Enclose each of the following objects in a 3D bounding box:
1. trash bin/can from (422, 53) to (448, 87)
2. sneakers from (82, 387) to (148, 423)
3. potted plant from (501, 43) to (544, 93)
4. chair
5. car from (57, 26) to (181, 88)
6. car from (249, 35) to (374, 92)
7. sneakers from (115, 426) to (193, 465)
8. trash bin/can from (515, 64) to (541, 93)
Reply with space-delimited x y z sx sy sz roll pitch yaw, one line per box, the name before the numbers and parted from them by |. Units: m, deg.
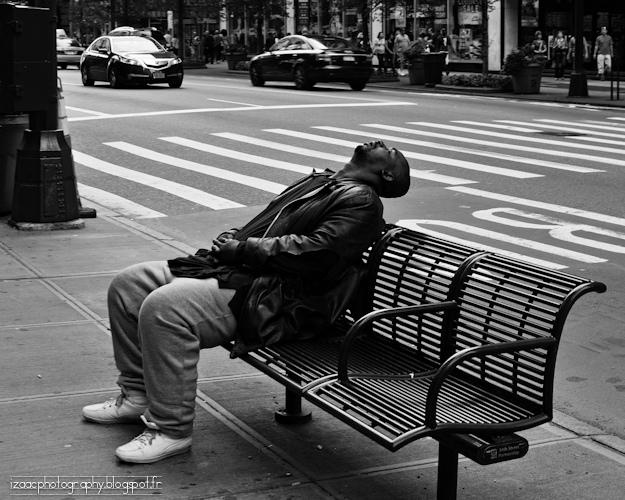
trash bin/can | 5.059 -7.492 30.805 0.906 1.362 0.948 1 15 0
sneakers | -1.009 0.799 3.945 0.442 0.175 0.163 2 11 2
potted plant | 7.874 -6.689 27.508 1.930 1.689 1.552 -2 5 -6
chair | 0.458 0.486 3.472 1.101 0.879 1.421 -8 16 -31
car | -7.393 -7.690 30.364 2.116 2.099 4.858 -12 18 -40
car | -0.240 -7.545 29.986 2.166 2.108 5.582 -12 19 -42
sneakers | -0.746 0.913 3.551 0.365 0.145 0.132 0 13 -22
trash bin/can | 8.092 -6.244 27.477 1.173 1.031 1.016 -4 6 -35
